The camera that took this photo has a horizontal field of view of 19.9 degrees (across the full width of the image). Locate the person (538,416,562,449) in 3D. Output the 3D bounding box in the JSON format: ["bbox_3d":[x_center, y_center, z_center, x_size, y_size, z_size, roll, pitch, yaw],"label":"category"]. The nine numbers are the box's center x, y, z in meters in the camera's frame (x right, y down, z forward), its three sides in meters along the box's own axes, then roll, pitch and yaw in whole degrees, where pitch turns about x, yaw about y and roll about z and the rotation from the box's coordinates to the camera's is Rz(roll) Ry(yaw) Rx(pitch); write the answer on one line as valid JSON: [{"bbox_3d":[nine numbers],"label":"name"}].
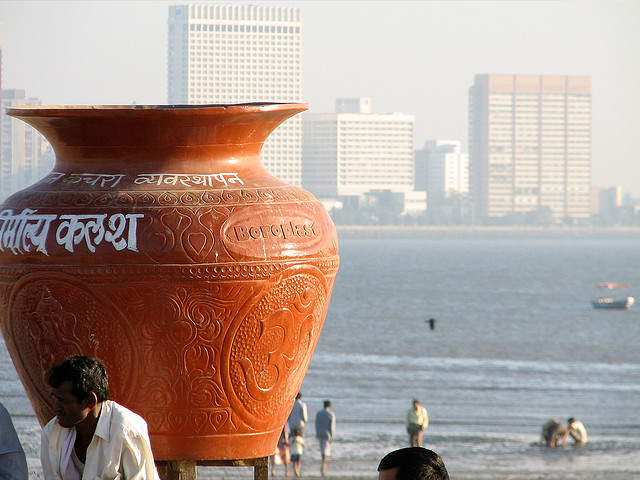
[{"bbox_3d":[15.055,12.652,119.033,1.433,1.785,0.469,1,6,7],"label":"person"}]

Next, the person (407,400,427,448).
[{"bbox_3d":[6.226,11.510,115.452,1.129,2.906,0.965,3,7,20],"label":"person"}]
